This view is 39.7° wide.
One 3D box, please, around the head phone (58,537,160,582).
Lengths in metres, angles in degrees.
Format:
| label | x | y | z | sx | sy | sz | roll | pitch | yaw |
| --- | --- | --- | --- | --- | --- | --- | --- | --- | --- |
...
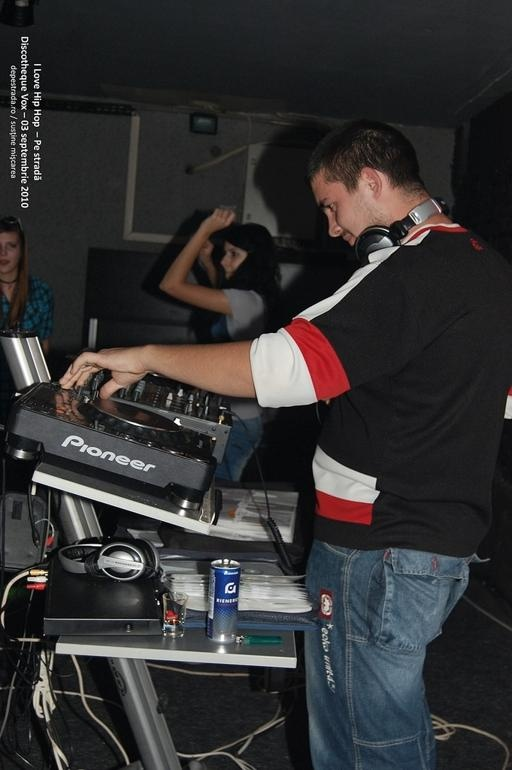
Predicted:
| label | x | y | z | sx | sy | sz | roll | pitch | yaw |
| --- | --- | --- | --- | --- | --- | --- | --- | --- | --- |
| head phone | -0.299 | 0.338 | 1.407 | 0.146 | 0.047 | 0.105 | 1 | -9 | -1 |

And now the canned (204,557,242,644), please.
| label | x | y | z | sx | sy | sz | roll | pitch | yaw |
| --- | --- | --- | --- | --- | --- | --- | --- | --- | --- |
| canned | -0.058 | 0.380 | 1.287 | 0.056 | 0.146 | 0.111 | 5 | 10 | 1 |

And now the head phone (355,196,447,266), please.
| label | x | y | z | sx | sy | sz | roll | pitch | yaw |
| --- | --- | --- | --- | --- | --- | --- | --- | --- | --- |
| head phone | 0.270 | -0.307 | 1.311 | 0.104 | 0.092 | 0.038 | -8 | 50 | -46 |
